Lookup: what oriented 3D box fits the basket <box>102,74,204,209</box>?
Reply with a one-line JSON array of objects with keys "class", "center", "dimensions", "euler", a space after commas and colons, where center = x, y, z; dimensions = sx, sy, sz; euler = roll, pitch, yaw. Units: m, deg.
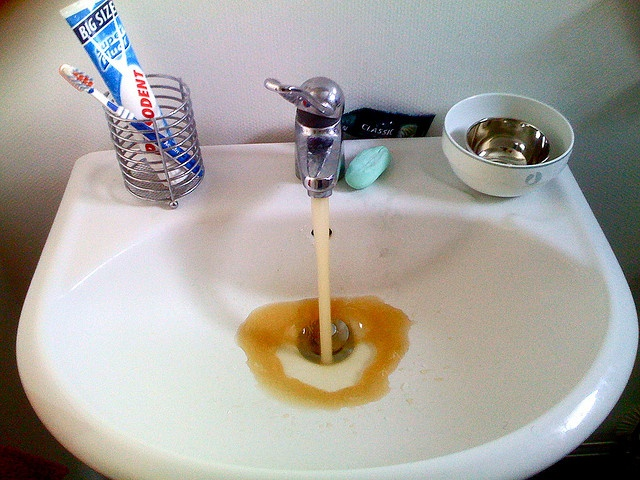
[{"class": "basket", "center": [-0.194, -0.120, 0.766], "dimensions": [0.177, 0.174, 0.156], "euler": [-8, 46, -8]}]

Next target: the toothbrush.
[{"class": "toothbrush", "center": [-0.251, -0.165, 0.725], "dimensions": [0.029, 0.272, 0.023], "euler": [-14, 50, 35]}]

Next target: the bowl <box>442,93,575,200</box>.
[{"class": "bowl", "center": [0.254, -0.124, 0.731], "dimensions": [0.123, 0.086, 0.145], "euler": [-8, 46, -16]}]

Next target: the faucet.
[{"class": "faucet", "center": [-0.004, -0.117, 0.613], "dimensions": [0.063, 0.191, 0.120], "euler": [3, 50, 7]}]
